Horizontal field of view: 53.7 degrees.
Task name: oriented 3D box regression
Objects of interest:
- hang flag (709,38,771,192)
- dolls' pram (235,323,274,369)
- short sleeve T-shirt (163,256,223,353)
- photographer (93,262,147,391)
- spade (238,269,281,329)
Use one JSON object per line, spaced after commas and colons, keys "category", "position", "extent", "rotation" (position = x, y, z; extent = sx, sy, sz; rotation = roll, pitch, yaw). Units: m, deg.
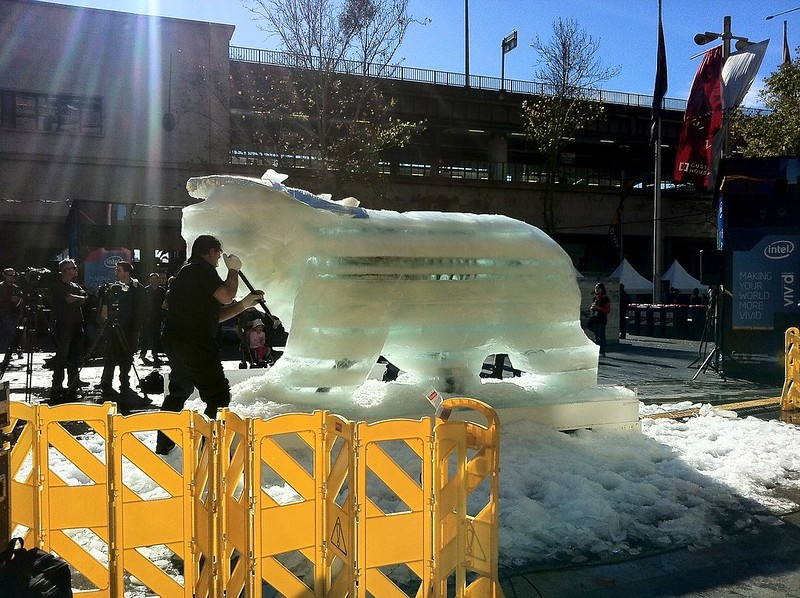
{"category": "hang flag", "position": [7.122, -4.213, 16.745], "extent": [0.943, 2.378, 2.692], "rotation": [2, 1, 22]}
{"category": "dolls' pram", "position": [-2.197, 0.727, 12.068], "extent": [0.534, 0.952, 0.614], "rotation": [0, 2, -41]}
{"category": "short sleeve T-shirt", "position": [-1.883, 0.072, 7.152], "extent": [0.527, 0.878, 0.303], "rotation": [1, 1, -13]}
{"category": "photographer", "position": [-3.959, 0.475, 10.760], "extent": [0.618, 1.774, 0.632], "rotation": [-6, 5, -22]}
{"category": "spade", "position": [-1.377, 0.002, 7.702], "extent": [0.312, 0.593, 0.218], "rotation": [-35, 10, -27]}
